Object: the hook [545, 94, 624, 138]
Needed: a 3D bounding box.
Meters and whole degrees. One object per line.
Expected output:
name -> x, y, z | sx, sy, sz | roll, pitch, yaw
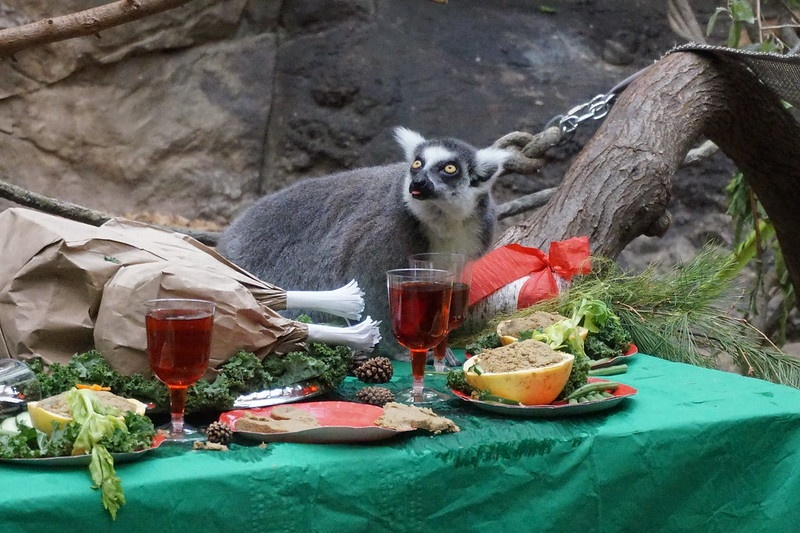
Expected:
hook -> 1.064, -0.875, 4.703 | 0.306, 0.242, 0.295 | 4, 5, 12
